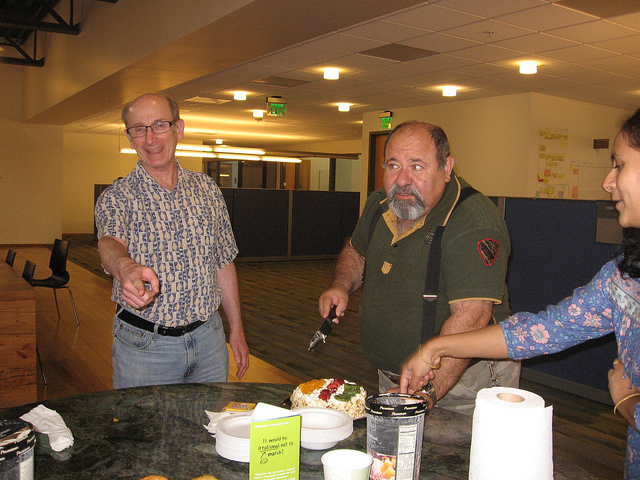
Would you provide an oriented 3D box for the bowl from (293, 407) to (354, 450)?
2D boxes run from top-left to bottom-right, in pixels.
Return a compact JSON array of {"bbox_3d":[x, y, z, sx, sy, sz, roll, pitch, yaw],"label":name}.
[{"bbox_3d":[-0.013,0.559,1.338,0.185,0.068,0.188,3,10,-1],"label":"bowl"}]

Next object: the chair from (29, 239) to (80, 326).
[{"bbox_3d":[-3.702,0.497,6.360,0.519,1.099,1.955,-2,8,-31],"label":"chair"}]

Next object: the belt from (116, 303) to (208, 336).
[{"bbox_3d":[-0.667,0.345,2.012,0.346,0.075,0.316,5,-23,-23],"label":"belt"}]
